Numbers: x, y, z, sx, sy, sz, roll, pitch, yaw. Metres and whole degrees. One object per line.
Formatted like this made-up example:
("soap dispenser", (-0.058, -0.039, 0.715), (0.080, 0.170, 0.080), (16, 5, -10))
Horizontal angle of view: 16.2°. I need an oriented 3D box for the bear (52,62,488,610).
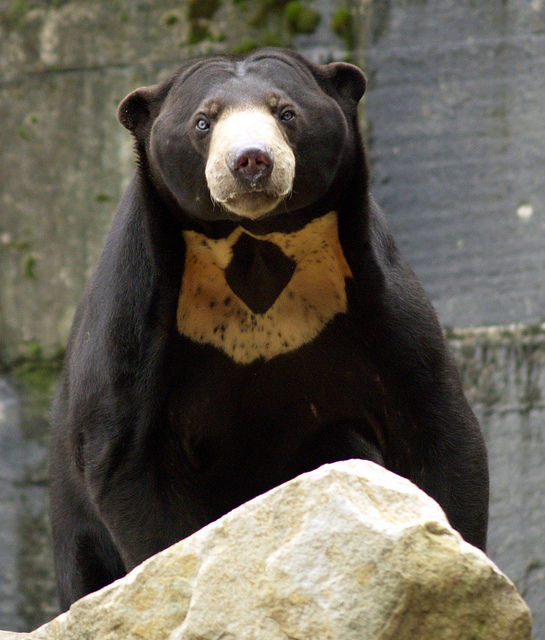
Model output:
("bear", (-0.120, 0.189, 8.293), (1.376, 2.592, 1.758), (0, 58, -7))
